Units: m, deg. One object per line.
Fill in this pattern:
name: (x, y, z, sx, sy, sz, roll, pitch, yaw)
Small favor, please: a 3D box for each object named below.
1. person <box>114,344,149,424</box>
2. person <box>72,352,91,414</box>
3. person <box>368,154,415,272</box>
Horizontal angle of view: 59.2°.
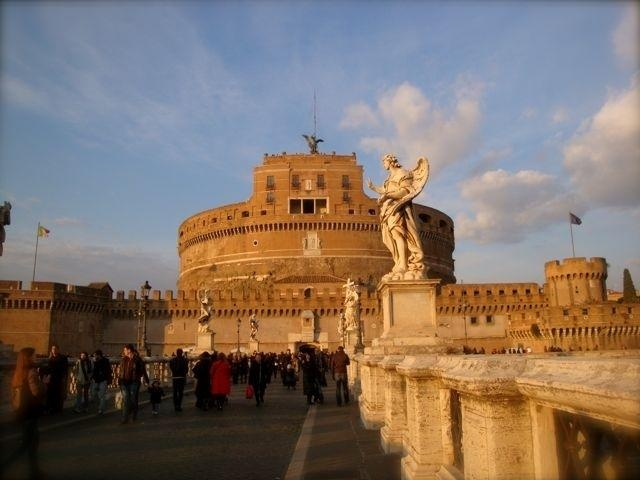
person: (-4.165, 3.169, 12.532, 0.558, 1.682, 1.134, 3, -13, -19)
person: (-5.977, 3.582, 14.195, 0.382, 1.429, 1.603, 4, -13, -23)
person: (1.296, -0.425, 9.999, 0.469, 2.270, 0.788, 9, -15, -40)
